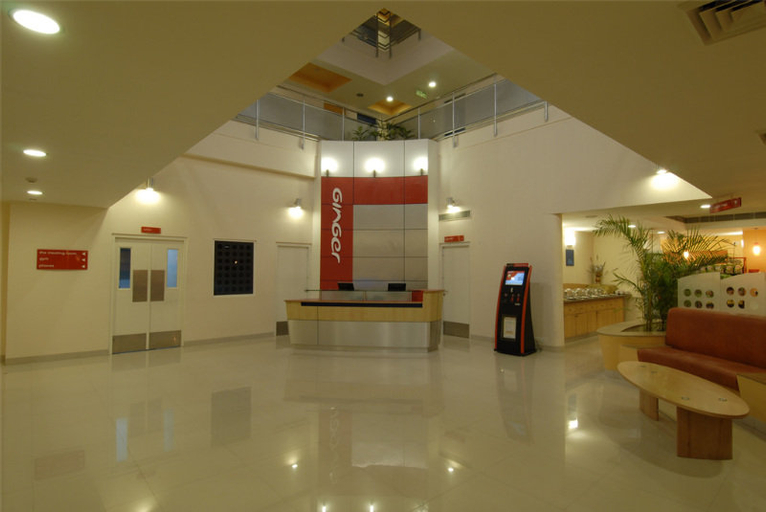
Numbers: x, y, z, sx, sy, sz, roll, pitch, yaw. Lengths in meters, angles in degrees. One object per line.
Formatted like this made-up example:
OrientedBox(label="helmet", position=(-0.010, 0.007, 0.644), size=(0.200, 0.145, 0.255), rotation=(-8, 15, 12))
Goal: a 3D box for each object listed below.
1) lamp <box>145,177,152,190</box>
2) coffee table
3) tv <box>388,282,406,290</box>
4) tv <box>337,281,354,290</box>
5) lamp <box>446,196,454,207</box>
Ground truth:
OrientedBox(label="lamp", position=(-4.675, -1.432, 9.939), size=(0.104, 0.225, 0.122), rotation=(1, 6, 13))
OrientedBox(label="coffee table", position=(3.471, 1.865, 5.814), size=(0.947, 0.714, 1.457), rotation=(-1, 7, -8))
OrientedBox(label="tv", position=(0.276, 0.632, 10.101), size=(0.340, 0.156, 0.436), rotation=(0, 7, -4))
OrientedBox(label="tv", position=(-0.754, 0.633, 10.236), size=(0.298, 0.121, 0.466), rotation=(0, 7, 1))
OrientedBox(label="lamp", position=(1.605, -1.272, 11.718), size=(0.079, 0.212, 0.236), rotation=(-4, 8, -34))
